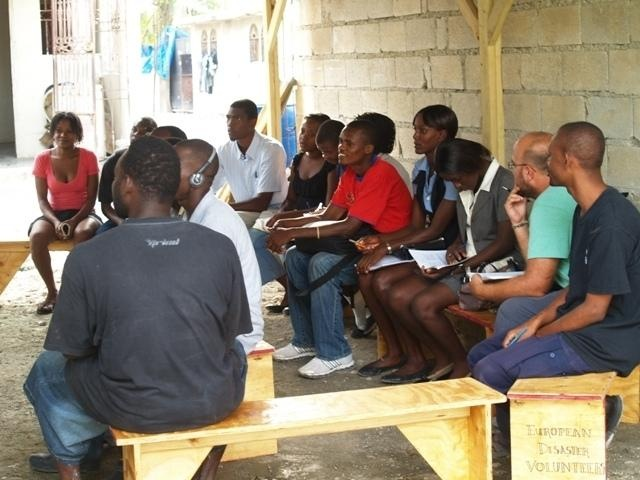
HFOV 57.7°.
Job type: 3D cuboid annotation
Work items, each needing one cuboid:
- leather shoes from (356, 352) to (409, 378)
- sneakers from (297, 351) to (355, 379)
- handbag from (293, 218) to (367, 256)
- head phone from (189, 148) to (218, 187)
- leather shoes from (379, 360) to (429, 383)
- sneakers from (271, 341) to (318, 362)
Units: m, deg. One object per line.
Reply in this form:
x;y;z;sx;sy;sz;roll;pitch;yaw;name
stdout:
0.490;0.973;4.525;0.390;0.105;0.136;-8;7;-22;leather shoes
0.044;0.991;4.600;0.425;0.165;0.160;-8;4;-23;sneakers
-0.014;-0.015;4.917;0.658;0.232;0.753;-5;-6;-17;handbag
-0.616;-0.383;3.038;0.076;0.196;0.149;34;-28;-3;head phone
0.640;0.977;4.276;0.389;0.133;0.133;-1;-6;-15;leather shoes
-0.225;0.951;4.904;0.320;0.124;0.133;2;0;-16;sneakers
